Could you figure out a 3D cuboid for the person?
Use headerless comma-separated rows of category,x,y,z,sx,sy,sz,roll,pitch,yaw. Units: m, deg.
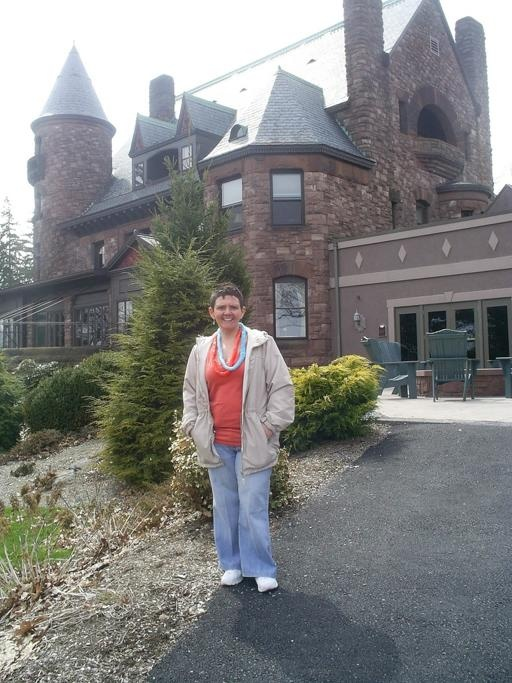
person,-0.099,0.530,3.127,0.683,1.614,0.367,-8,-2,8

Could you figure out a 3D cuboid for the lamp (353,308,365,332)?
lamp,3.173,-0.641,16.802,0.444,0.672,0.214,-9,-2,34

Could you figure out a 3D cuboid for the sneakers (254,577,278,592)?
sneakers,0.058,1.342,2.984,0.117,0.076,0.093,-8,-2,-3
